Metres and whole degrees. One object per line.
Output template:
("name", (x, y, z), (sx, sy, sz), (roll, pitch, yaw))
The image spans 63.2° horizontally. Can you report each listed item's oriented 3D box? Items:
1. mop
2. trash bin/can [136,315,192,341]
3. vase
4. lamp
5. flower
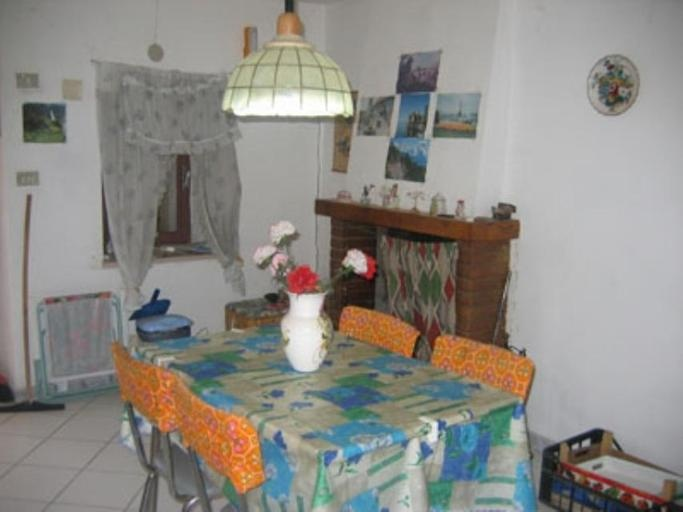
("mop", (-2.443, 0.369, 4.235), (0.435, 1.632, 0.490), (-7, 15, -32))
("trash bin/can", (-1.417, 0.566, 4.460), (0.342, 0.108, 0.254), (-6, 12, -36))
("vase", (-0.183, 0.377, 2.900), (0.255, 0.418, 0.279), (2, 4, 13))
("lamp", (-0.261, -0.822, 2.522), (0.488, 0.562, 0.483), (-13, 20, -38))
("flower", (-0.138, 0.099, 2.940), (0.436, 0.289, 0.444), (-8, 19, -14))
